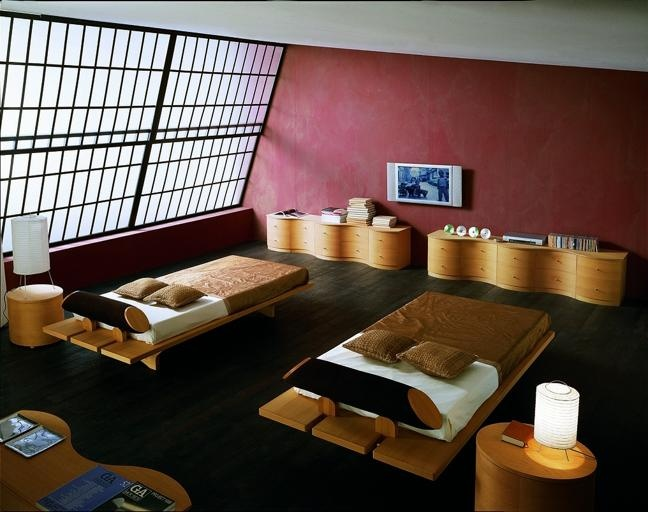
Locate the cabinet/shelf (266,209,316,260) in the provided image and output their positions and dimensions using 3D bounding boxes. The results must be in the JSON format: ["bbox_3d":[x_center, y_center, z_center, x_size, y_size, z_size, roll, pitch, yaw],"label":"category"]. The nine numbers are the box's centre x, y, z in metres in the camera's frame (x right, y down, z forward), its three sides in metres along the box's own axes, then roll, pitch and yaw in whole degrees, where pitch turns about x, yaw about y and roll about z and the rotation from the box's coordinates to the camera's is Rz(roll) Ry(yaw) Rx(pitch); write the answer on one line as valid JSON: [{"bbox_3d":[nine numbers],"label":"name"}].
[{"bbox_3d":[-0.522,-0.493,9.185,1.326,0.717,0.746,7,12,28],"label":"cabinet/shelf"}]

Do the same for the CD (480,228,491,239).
[{"bbox_3d":[2.746,-0.385,7.179,0.158,0.161,0.196,3,15,17],"label":"CD"}]

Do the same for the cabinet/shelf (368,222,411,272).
[{"bbox_3d":[1.232,-0.184,8.233,0.815,0.717,0.613,11,19,43],"label":"cabinet/shelf"}]

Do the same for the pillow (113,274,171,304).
[{"bbox_3d":[-2.208,0.389,5.278,0.395,0.124,0.382,7,17,29],"label":"pillow"}]

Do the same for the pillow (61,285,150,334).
[{"bbox_3d":[-2.362,0.631,4.625,1.131,0.357,0.188,5,16,27],"label":"pillow"}]

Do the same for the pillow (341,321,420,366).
[{"bbox_3d":[0.545,0.780,3.777,0.352,0.116,0.334,10,18,42],"label":"pillow"}]

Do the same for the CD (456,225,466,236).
[{"bbox_3d":[2.392,-0.451,7.340,0.168,0.178,0.061,0,2,8],"label":"CD"}]

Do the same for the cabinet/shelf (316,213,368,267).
[{"bbox_3d":[0.428,-0.346,8.655,1.309,0.736,0.696,6,16,26],"label":"cabinet/shelf"}]

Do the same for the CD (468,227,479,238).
[{"bbox_3d":[2.587,-0.422,7.338,0.193,0.178,0.193,-1,16,25],"label":"CD"}]

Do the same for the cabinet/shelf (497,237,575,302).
[{"bbox_3d":[3.468,0.190,6.805,1.471,0.768,0.506,9,24,40],"label":"cabinet/shelf"}]

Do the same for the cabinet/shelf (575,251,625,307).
[{"bbox_3d":[4.164,0.330,6.343,0.474,0.678,0.613,-16,16,-38],"label":"cabinet/shelf"}]

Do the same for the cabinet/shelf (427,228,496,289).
[{"bbox_3d":[2.491,0.014,7.433,1.297,0.698,0.498,7,18,39],"label":"cabinet/shelf"}]
